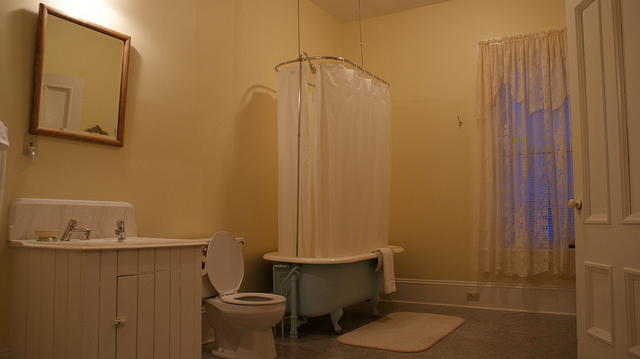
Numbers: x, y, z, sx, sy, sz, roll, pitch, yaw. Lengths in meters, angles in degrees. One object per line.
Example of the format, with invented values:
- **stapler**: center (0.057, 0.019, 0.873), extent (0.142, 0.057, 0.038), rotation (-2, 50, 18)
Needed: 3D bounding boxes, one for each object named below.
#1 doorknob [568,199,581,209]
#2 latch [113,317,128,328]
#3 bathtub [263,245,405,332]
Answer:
- **doorknob**: center (2.328, 0.227, 4.378), extent (0.070, 0.094, 0.098), rotation (4, -3, 6)
- **latch**: center (-1.566, 1.126, 3.735), extent (0.089, 0.059, 0.031), rotation (4, -29, -35)
- **bathtub**: center (0.197, 1.153, 5.171), extent (1.458, 0.933, 1.035), rotation (-1, 7, -4)
